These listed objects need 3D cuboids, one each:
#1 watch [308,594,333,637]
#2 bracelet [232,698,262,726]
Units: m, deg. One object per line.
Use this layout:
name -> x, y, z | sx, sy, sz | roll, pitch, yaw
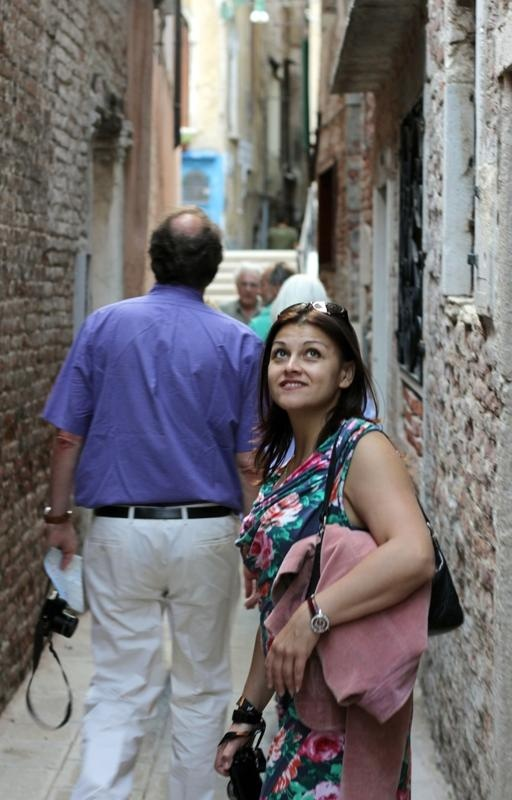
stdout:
watch -> 0.080, 0.278, 0.951 | 0.016, 0.043, 0.038 | -1, 7, -39
bracelet -> -0.016, 0.581, 1.363 | 0.036, 0.056, 0.055 | 20, -31, 1
